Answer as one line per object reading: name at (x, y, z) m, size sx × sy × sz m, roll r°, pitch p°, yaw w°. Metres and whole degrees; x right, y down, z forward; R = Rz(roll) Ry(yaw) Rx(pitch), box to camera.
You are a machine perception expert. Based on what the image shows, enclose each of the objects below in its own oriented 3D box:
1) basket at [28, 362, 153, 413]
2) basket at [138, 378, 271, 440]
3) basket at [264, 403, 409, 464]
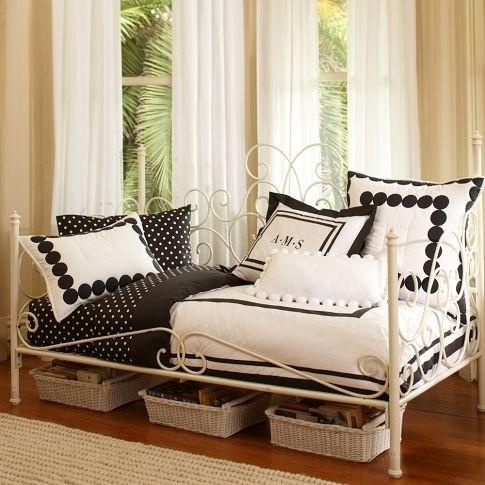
basket at (-0.688, 0.617, 2.326) m, size 0.298 × 0.099 × 0.262 m, roll 1°, pitch -1°, yaw 26°
basket at (-0.156, 0.621, 2.014) m, size 0.276 × 0.096 × 0.245 m, roll -2°, pitch -3°, yaw 30°
basket at (0.274, 0.585, 1.754) m, size 0.277 × 0.095 × 0.209 m, roll -3°, pitch -2°, yaw 28°
